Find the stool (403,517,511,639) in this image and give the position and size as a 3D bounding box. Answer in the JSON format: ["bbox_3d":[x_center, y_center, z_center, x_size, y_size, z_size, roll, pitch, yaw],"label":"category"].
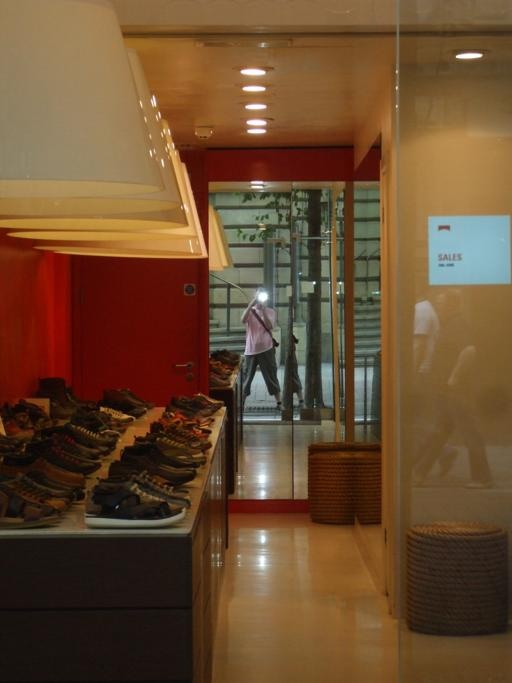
[{"bbox_3d":[0.877,1.018,2.782,0.447,0.483,0.457,0,0,8],"label":"stool"}]

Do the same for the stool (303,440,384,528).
[{"bbox_3d":[0.686,1.174,4.963,0.665,0.603,0.663,3,-20,-15],"label":"stool"}]

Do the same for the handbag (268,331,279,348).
[{"bbox_3d":[0.144,-0.005,4.779,0.046,0.160,0.065,-1,2,-10],"label":"handbag"}]

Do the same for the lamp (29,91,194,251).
[{"bbox_3d":[-0.465,-0.566,2.480,0.675,0.756,0.721,-1,-5,-8],"label":"lamp"}]
